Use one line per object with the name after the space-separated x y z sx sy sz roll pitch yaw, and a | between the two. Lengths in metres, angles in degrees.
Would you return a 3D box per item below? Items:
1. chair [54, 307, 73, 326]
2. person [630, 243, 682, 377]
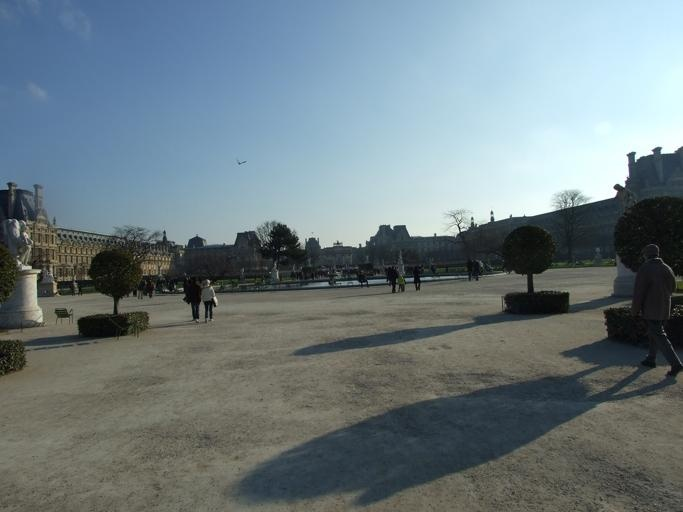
-11.853 2.611 21.186 0.705 0.830 0.839 2 -7 -31 | chair
5.847 0.944 9.173 0.804 2.302 1.516 2 8 32 | person
